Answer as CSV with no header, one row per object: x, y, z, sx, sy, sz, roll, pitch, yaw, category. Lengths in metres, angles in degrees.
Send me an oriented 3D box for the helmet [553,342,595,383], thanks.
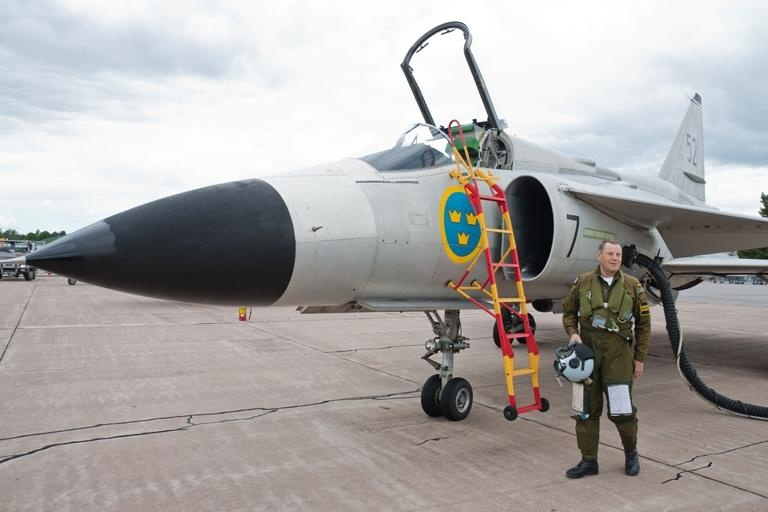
1.715,0.972,4.535,0.445,0.341,0.331,1,-5,22,helmet

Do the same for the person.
2.060,0.943,4.591,0.745,2.166,0.459,0,1,20,person
